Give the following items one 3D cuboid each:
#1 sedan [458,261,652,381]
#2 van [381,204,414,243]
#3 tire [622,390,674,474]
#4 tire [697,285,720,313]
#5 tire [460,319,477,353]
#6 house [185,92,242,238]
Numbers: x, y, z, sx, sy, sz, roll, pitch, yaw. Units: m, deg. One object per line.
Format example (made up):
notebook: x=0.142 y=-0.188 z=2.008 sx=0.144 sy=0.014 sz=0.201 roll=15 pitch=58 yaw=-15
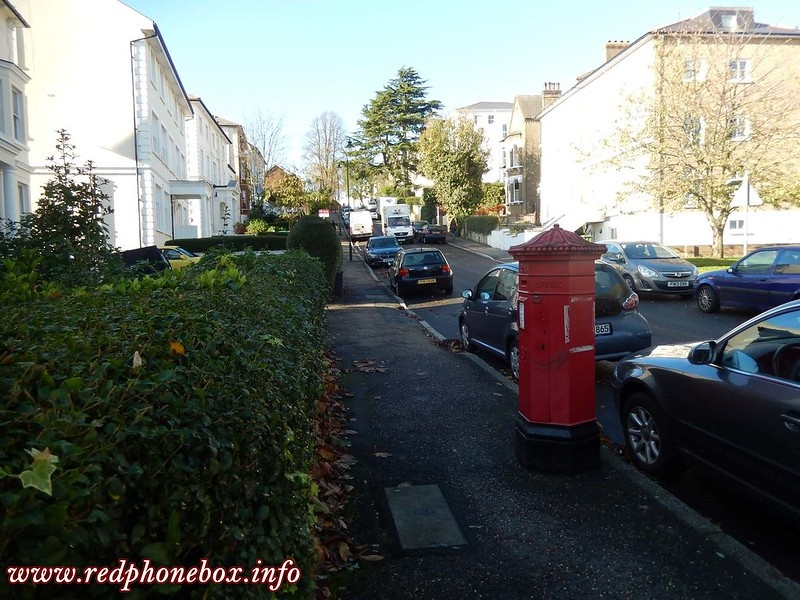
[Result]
sedan: x=2.081 y=-0.078 z=9.721 sx=1.629 sy=1.325 sz=2.821 roll=-3 pitch=8 yaw=-14
van: x=-0.107 y=-5.976 z=47.666 sx=1.527 sy=2.355 sz=4.211 roll=-1 pitch=5 yaw=-3
tire: x=2.319 y=1.223 z=5.746 sx=0.206 sy=0.709 sz=0.647 roll=-2 pitch=8 yaw=-15
tire: x=7.441 y=-0.049 z=14.886 sx=0.208 sy=0.680 sz=0.623 roll=1 pitch=0 yaw=-10
tire: x=1.222 y=0.615 z=10.895 sx=0.162 sy=0.567 sz=0.516 roll=0 pitch=5 yaw=-17
house: x=-17.478 y=-13.442 z=65.092 sx=4.228 sy=10.970 sz=17.850 roll=-1 pitch=10 yaw=-9
